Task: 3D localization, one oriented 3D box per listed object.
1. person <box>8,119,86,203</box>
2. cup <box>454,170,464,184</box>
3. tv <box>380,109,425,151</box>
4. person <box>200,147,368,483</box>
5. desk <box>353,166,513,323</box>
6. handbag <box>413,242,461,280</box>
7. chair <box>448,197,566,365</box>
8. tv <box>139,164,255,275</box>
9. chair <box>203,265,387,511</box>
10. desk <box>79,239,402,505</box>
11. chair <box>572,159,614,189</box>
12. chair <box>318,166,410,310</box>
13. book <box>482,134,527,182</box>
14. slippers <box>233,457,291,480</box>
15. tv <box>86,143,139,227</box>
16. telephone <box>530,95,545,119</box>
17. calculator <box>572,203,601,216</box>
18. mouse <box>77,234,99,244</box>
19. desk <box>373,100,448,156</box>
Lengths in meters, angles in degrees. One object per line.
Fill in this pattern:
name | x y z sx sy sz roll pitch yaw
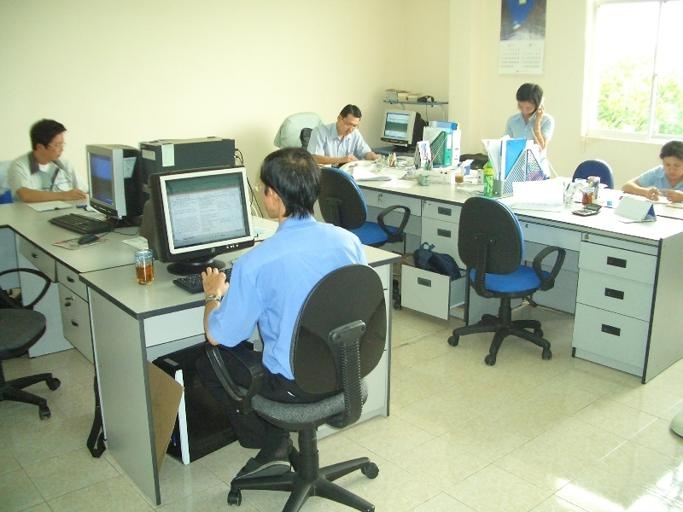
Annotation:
person | -2.511 -0.795 5.137 0.524 0.739 0.558 17 28 21
cup | 1.049 -0.684 5.456 0.095 0.105 0.086 -4 6 -45
tv | 0.809 -1.525 7.625 0.496 0.508 0.462 -2 13 -43
person | -0.275 0.366 3.115 0.854 1.758 0.816 2 10 10
desk | 0.630 -0.171 5.404 0.955 0.930 1.456 -23 30 -37
handbag | 0.764 0.053 4.850 0.292 0.130 0.250 21 8 -12
chair | 1.211 0.131 4.419 0.741 1.170 0.704 -16 21 -43
tv | -0.845 -0.231 3.645 0.617 0.613 0.643 -3 18 -14
chair | -0.248 0.652 2.966 0.810 1.192 0.774 -15 27 -38
desk | -0.671 0.383 3.535 1.893 1.407 1.204 -14 27 -30
chair | 2.173 -0.728 5.257 0.301 0.308 0.296 14 29 36
chair | 0.207 -0.223 5.396 0.792 1.217 0.756 8 22 33
book | 1.333 -0.872 5.105 0.327 0.444 0.406 -11 18 -20
slippers | -0.408 1.128 3.226 0.226 0.082 0.130 1 -1 0
tv | -1.564 -0.479 4.191 0.246 0.481 0.444 -8 18 -40
telephone | 1.823 -1.378 5.684 0.115 0.219 0.119 25 66 32
calculator | 1.799 -0.325 4.439 0.158 0.056 0.113 -15 25 -30
mouse | -1.618 -0.108 3.906 0.058 0.037 0.107 10 18 24
desk | 0.796 -1.598 7.623 0.823 0.598 0.469 15 20 33
